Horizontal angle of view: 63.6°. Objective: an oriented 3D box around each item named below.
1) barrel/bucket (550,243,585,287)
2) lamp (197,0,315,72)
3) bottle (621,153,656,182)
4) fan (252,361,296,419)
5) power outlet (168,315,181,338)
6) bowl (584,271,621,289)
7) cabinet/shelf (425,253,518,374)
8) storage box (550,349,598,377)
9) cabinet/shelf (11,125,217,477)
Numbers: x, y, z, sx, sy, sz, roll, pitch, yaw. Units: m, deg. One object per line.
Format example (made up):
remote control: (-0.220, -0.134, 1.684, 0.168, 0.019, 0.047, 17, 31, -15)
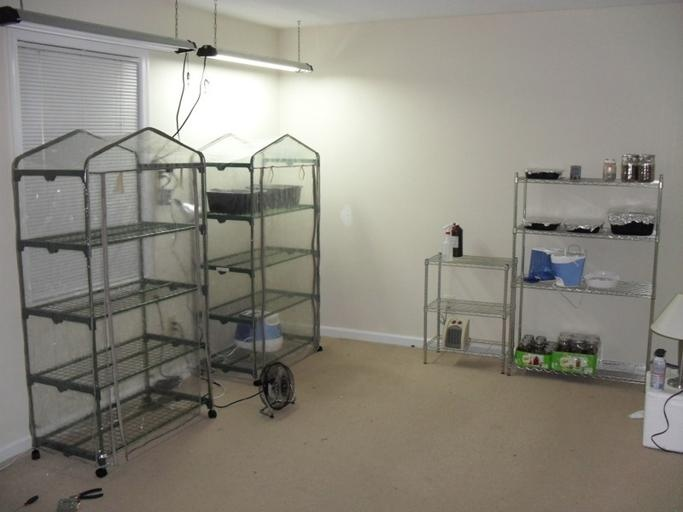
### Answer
barrel/bucket: (1.944, 0.100, 4.786, 0.294, 0.389, 0.375, 2, 8, 25)
lamp: (-0.805, -1.928, 4.904, 0.696, 0.512, 1.652, 6, 16, 22)
bottle: (2.347, -0.693, 4.379, 0.226, 0.228, 0.232, 2, 3, 28)
fan: (-0.518, 1.026, 4.294, 0.174, 0.372, 0.284, -5, -1, 45)
power outlet: (-1.240, 0.520, 4.095, 0.076, 0.127, 0.137, -9, 45, -25)
bowl: (2.183, 0.203, 4.633, 0.252, 0.112, 0.219, 7, 17, 24)
cabinet/shelf: (1.244, 0.549, 5.154, 0.970, 1.251, 0.476, 2, 3, 28)
storage box: (1.978, 0.917, 4.702, 0.299, 0.152, 0.223, 2, 4, 28)
cabinet/shelf: (-1.525, 0.250, 3.740, 1.279, 2.149, 0.686, -9, 17, -32)
